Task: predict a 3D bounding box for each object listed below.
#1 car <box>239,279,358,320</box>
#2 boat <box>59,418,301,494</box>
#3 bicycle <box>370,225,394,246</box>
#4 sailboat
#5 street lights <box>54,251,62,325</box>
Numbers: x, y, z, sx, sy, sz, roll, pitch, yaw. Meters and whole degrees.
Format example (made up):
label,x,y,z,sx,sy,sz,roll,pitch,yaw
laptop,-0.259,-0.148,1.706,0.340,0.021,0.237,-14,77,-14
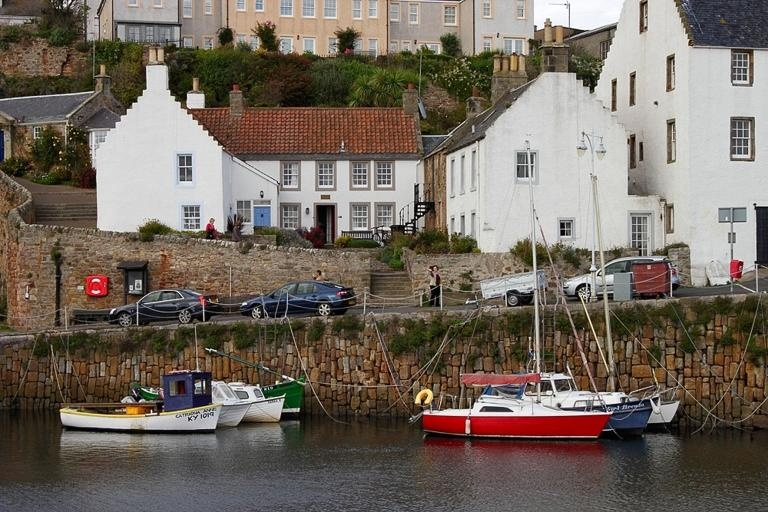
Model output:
label,x,y,z,sx,sy,sz,roll,pitch,yaw
car,-4.585,2.282,89.232,6.145,2.275,2.676,-2,-4,19
boat,-9.813,9.942,81.310,11.536,1.759,8.069,-2,-1,-3
bicycle,-0.116,-1.339,102.587,1.050,1.418,1.136,1,-3,-4
sailboat,8.115,2.443,84.094,11.081,10.418,4.155,-2,-1,10
street lights,-18.172,1.670,93.180,0.518,4.067,0.687,-1,-1,-11
